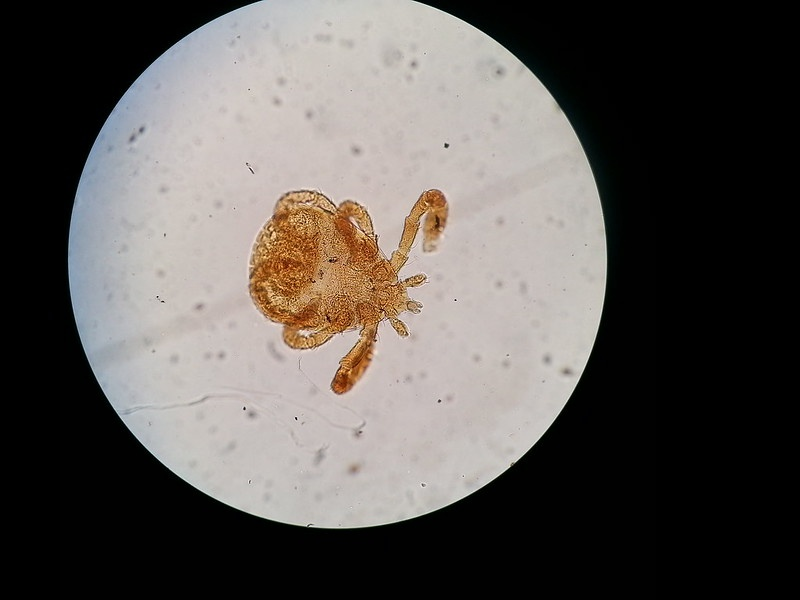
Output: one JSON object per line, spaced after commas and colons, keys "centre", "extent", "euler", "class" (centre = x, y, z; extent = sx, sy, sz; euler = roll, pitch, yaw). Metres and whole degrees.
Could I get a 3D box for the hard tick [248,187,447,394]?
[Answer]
{"centre": [-0.183, -0.033, 3.032], "extent": [0.686, 0.229, 0.662], "euler": [2, 78, -6], "class": "hard tick"}
